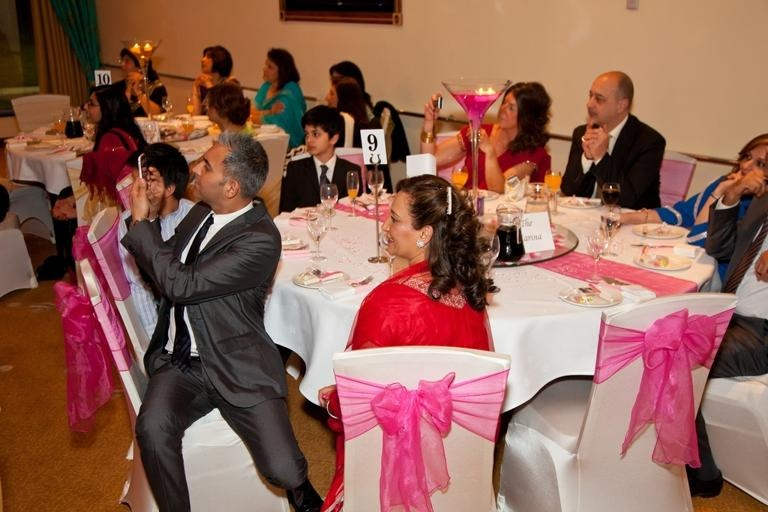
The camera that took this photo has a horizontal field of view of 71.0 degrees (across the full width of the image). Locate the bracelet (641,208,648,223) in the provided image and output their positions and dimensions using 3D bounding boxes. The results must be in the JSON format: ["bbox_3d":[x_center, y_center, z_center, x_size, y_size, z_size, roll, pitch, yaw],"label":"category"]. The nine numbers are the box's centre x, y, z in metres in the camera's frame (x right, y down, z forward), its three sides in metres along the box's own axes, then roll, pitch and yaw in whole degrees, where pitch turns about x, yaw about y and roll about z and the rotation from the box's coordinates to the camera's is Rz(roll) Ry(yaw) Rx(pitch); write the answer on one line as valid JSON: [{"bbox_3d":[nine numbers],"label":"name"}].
[{"bbox_3d":[1.552,-0.242,3.213,0.049,0.078,0.031,-1,-11,18],"label":"bracelet"}]

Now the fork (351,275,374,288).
[{"bbox_3d":[-0.096,0.117,2.526,0.037,0.024,0.146,20,22,28],"label":"fork"}]

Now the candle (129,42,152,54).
[{"bbox_3d":[-2.477,-2.154,5.620,0.176,0.086,0.189,-6,19,-5],"label":"candle"}]

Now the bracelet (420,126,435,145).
[{"bbox_3d":[0.289,-0.781,3.483,0.078,0.068,0.084,-6,20,-13],"label":"bracelet"}]

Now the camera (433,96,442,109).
[{"bbox_3d":[0.318,-0.887,3.110,0.023,0.078,0.051,8,12,-2],"label":"camera"}]

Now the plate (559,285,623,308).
[{"bbox_3d":[0.917,0.184,2.370,0.130,0.017,0.143,0,25,11],"label":"plate"}]
